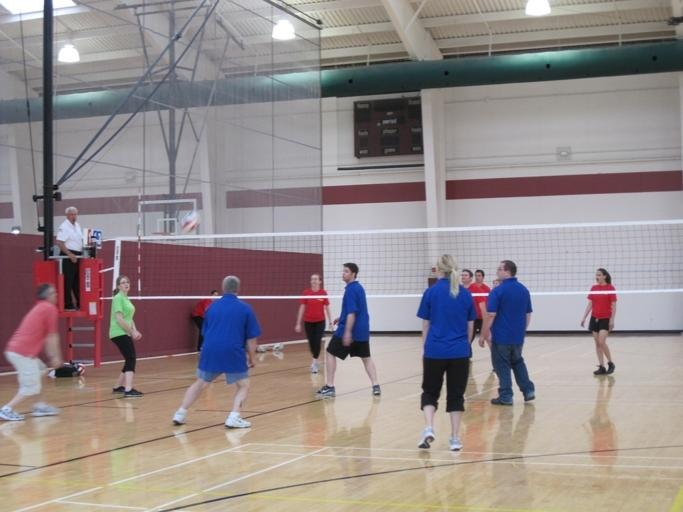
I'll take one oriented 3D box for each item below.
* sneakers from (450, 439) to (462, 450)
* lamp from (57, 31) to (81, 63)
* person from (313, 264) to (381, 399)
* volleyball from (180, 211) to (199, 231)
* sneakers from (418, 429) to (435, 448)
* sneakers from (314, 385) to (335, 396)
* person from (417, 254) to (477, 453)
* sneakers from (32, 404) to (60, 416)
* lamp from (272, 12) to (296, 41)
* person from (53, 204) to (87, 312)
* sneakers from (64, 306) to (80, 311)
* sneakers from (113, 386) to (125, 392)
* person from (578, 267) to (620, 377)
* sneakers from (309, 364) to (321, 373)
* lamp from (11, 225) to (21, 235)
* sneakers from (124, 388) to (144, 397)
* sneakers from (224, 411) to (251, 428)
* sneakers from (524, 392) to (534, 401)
[{"bbox_3d":[1.121,1.817,6.314,0.110,0.134,0.150,0,3,10],"label":"sneakers"},{"bbox_3d":[-6.083,-4.582,14.423,0.586,0.622,0.588,1,1,-11],"label":"lamp"},{"bbox_3d":[0.105,1.008,9.203,0.922,1.800,0.748,2,-9,-7],"label":"person"},{"bbox_3d":[-3.289,-0.719,14.237,0.381,0.456,0.166,13,-34,1],"label":"volleyball"},{"bbox_3d":[0.839,1.776,6.339,0.101,0.115,0.269,8,-34,0],"label":"sneakers"},{"bbox_3d":[-0.253,1.933,9.406,0.300,0.127,0.121,1,-6,25],"label":"sneakers"},{"bbox_3d":[1.040,0.934,6.373,0.528,1.859,0.333,0,3,10],"label":"person"},{"bbox_3d":[-3.753,1.937,8.208,0.354,0.156,0.163,-2,2,-7],"label":"sneakers"},{"bbox_3d":[-1.613,-6.366,18.071,0.594,0.409,0.591,0,-6,8],"label":"lamp"},{"bbox_3d":[-4.794,0.048,11.543,0.459,1.783,0.818,-2,3,-22],"label":"person"},{"bbox_3d":[-4.821,0.924,11.645,0.136,0.123,0.138,2,-2,19],"label":"sneakers"},{"bbox_3d":[-3.276,1.951,9.592,0.192,0.079,0.087,1,-5,-3],"label":"sneakers"},{"bbox_3d":[4.400,1.113,10.939,0.433,1.796,0.796,0,3,20],"label":"person"},{"bbox_3d":[-0.490,2.085,12.090,0.146,0.179,0.435,-1,-12,-2],"label":"sneakers"},{"bbox_3d":[-6.376,-0.511,12.671,0.143,0.138,0.139,-10,-33,-9],"label":"lamp"},{"bbox_3d":[-2.981,1.952,9.338,0.288,0.120,0.113,0,-4,-2],"label":"sneakers"},{"bbox_3d":[-1.158,1.857,7.435,0.367,0.165,0.141,3,0,-41],"label":"sneakers"},{"bbox_3d":[2.516,1.848,8.643,0.108,0.087,0.134,-6,-5,3],"label":"sneakers"}]
